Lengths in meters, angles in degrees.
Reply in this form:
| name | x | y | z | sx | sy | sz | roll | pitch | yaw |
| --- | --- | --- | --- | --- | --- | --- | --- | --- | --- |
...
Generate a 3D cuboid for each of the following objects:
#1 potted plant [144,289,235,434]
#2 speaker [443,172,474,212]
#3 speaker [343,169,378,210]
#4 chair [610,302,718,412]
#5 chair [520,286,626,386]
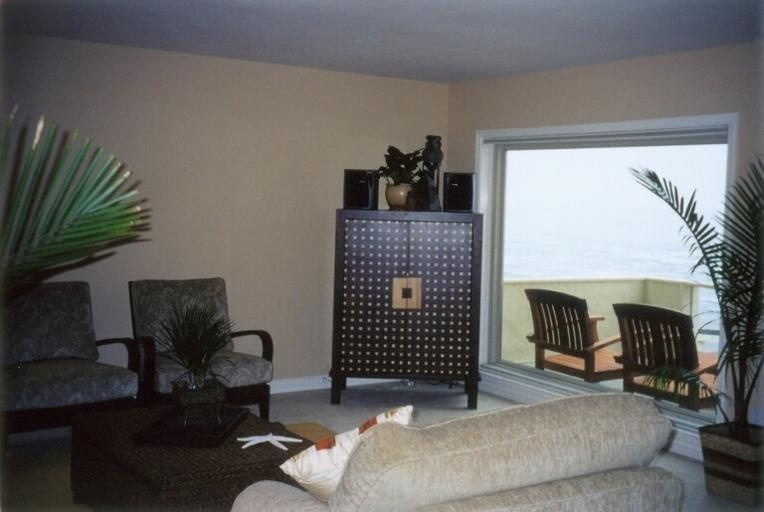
| name | x | y | z | sx | sy | sz | roll | pitch | yaw |
| --- | --- | --- | --- | --- | --- | --- | --- | --- | --- |
| potted plant | -1.101 | 0.659 | 3.481 | 0.404 | 0.714 | 0.394 | -4 | -2 | 5 |
| speaker | 0.684 | -0.546 | 5.292 | 0.312 | 0.370 | 0.296 | 4 | -9 | -13 |
| speaker | -0.212 | -0.536 | 5.324 | 0.304 | 0.392 | 0.390 | 0 | -11 | -7 |
| chair | 2.319 | 0.735 | 5.067 | 0.786 | 1.157 | 0.838 | -3 | 4 | -36 |
| chair | 1.754 | 0.684 | 5.590 | 0.749 | 1.045 | 0.753 | -4 | 5 | -28 |
